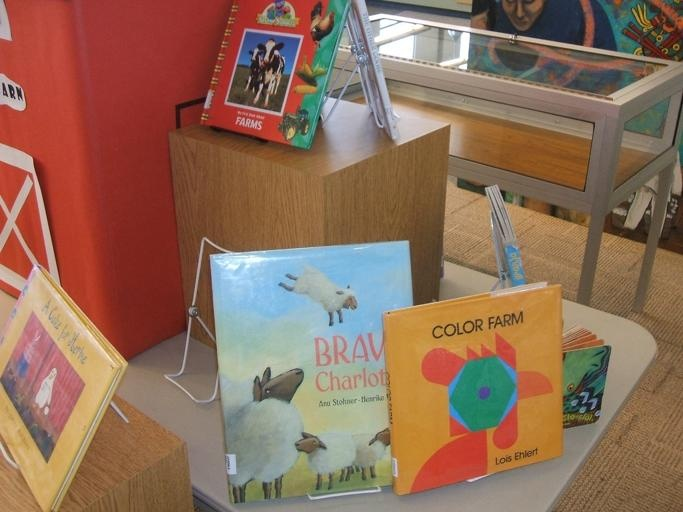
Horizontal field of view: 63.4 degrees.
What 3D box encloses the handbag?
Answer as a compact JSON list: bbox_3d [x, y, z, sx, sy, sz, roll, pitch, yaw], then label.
[{"bbox_3d":[0.256,0.235,1.019,0.362,0.302,0.153,-8,29,-14],"label":"handbag"}]
